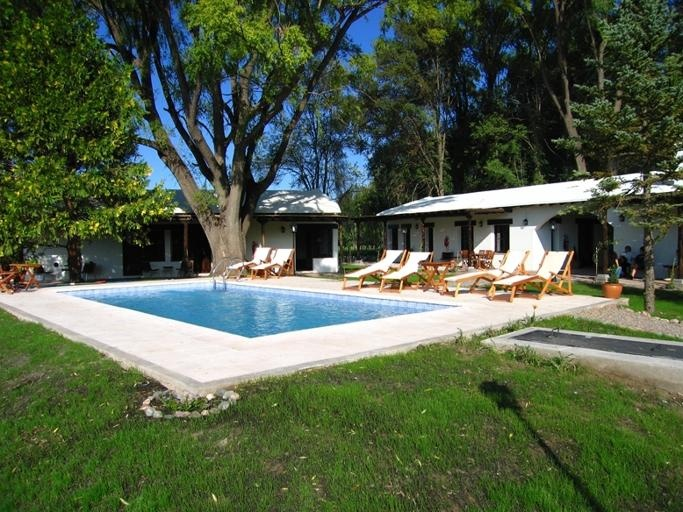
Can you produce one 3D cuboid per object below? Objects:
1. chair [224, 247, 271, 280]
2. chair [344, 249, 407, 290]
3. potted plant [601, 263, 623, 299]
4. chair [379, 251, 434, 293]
[{"bbox_3d":[-3.661,0.284,19.460,0.872,1.103,1.576,-1,5,42],"label":"chair"},{"bbox_3d":[1.330,0.398,15.341,1.637,1.042,0.894,-9,-7,-2],"label":"chair"},{"bbox_3d":[6.890,0.672,12.310,0.399,0.758,0.427,1,-1,20],"label":"potted plant"},{"bbox_3d":[1.904,0.545,14.340,0.865,1.167,1.734,0,10,38],"label":"chair"}]
